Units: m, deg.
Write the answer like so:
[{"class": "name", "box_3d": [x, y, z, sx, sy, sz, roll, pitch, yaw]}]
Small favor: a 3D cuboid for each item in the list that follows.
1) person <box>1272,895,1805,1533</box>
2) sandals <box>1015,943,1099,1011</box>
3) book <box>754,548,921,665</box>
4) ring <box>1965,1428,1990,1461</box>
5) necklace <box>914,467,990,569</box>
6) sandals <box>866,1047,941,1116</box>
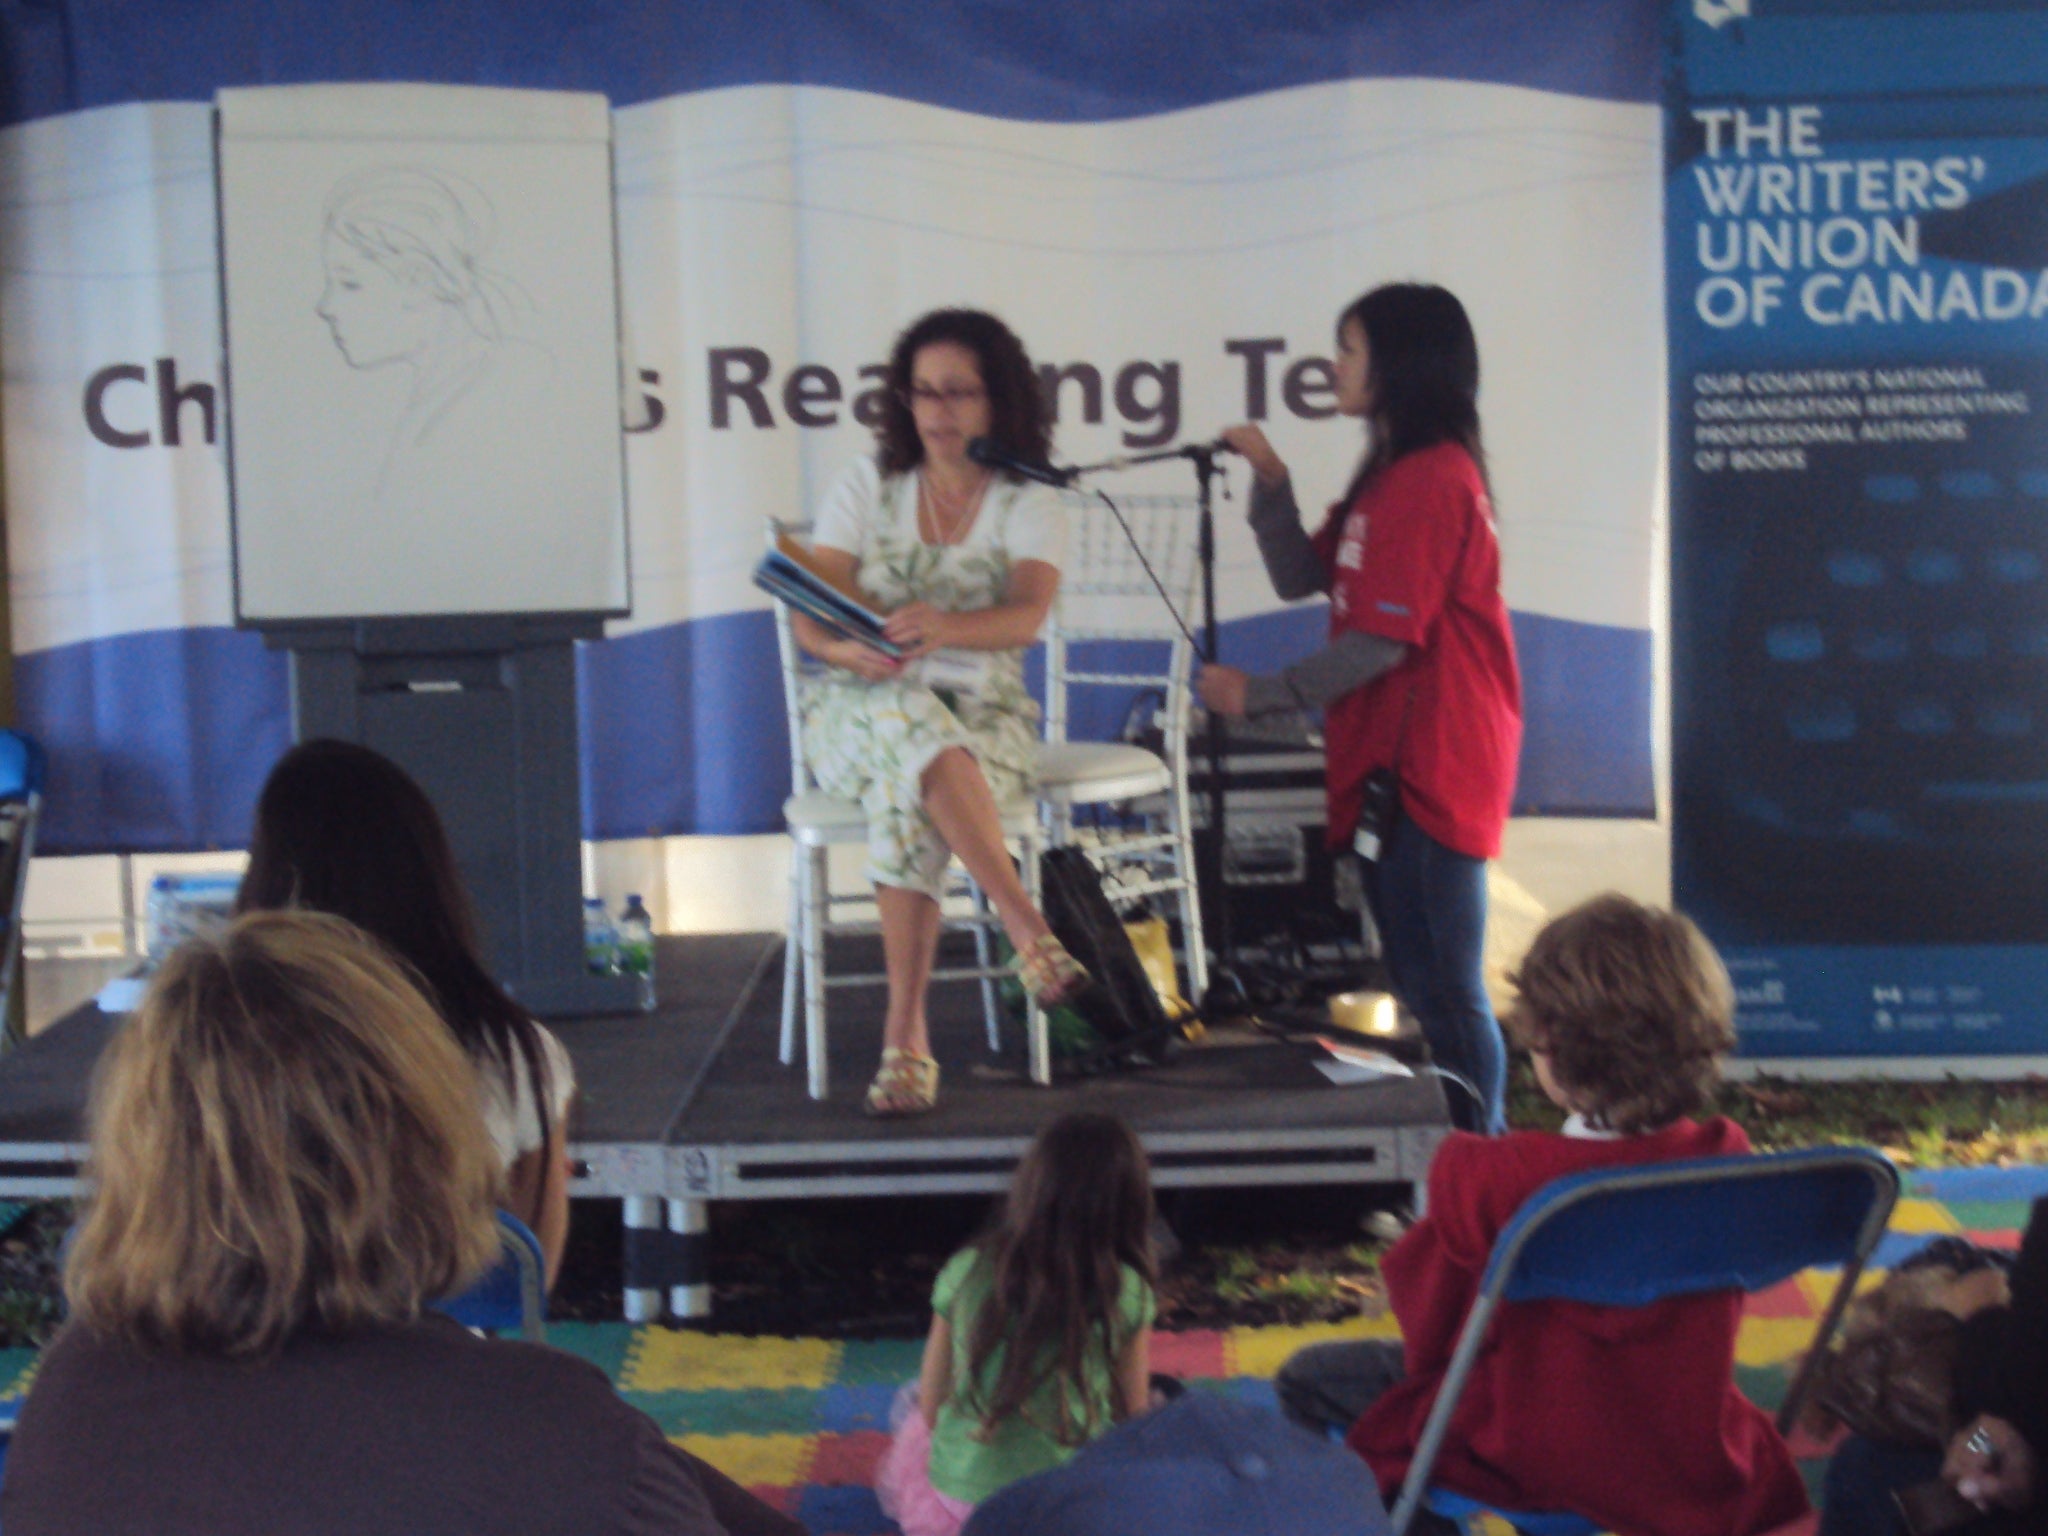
[{"class": "person", "box_3d": [0.735, 0.804, 5.702, 0.806, 1.285, 1.088, 0, 4, -10]}, {"class": "sandals", "box_3d": [0.068, 0.452, 6.629, 0.179, 0.160, 0.154, -1, 3, -1]}, {"class": "book", "box_3d": [-0.442, -0.363, 6.670, 0.331, 0.243, 0.160, 2, 4, 37]}, {"class": "ring", "box_3d": [1.692, 1.201, 5.314, 0.048, 0.050, 0.012, -5, -13, 36]}, {"class": "necklace", "box_3d": [-0.176, -0.568, 6.848, 0.129, 0.205, 0.064, 0, -4, 9]}, {"class": "sandals", "box_3d": [-0.240, 0.689, 6.646, 0.120, 0.134, 0.258, 1, 3, 32]}]
